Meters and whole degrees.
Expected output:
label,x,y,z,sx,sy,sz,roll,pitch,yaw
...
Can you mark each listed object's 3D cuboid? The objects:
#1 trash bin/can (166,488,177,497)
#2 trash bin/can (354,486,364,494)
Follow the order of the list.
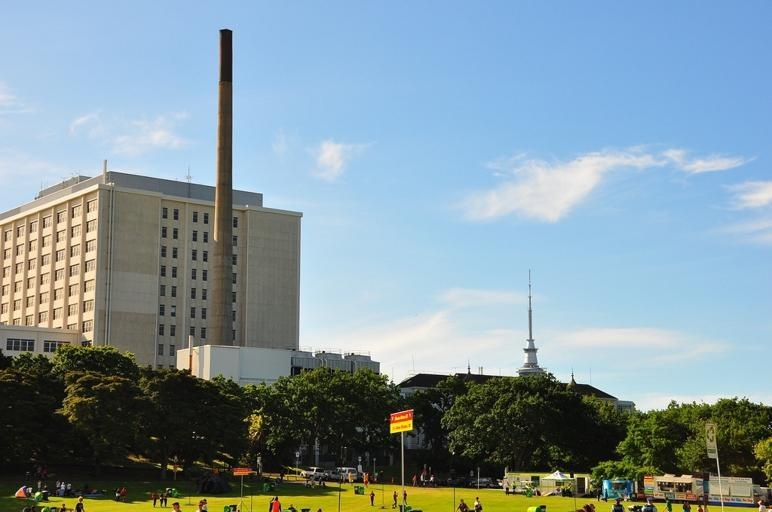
label,x,y,z,sx,sy,sz,roll,pitch,yaw
trash bin/can,-33.540,36.949,166.017,1.526,1.060,1.601,-1,4,-20
trash bin/can,-4.500,39.073,176.912,1.399,1.059,1.392,2,-8,-6
